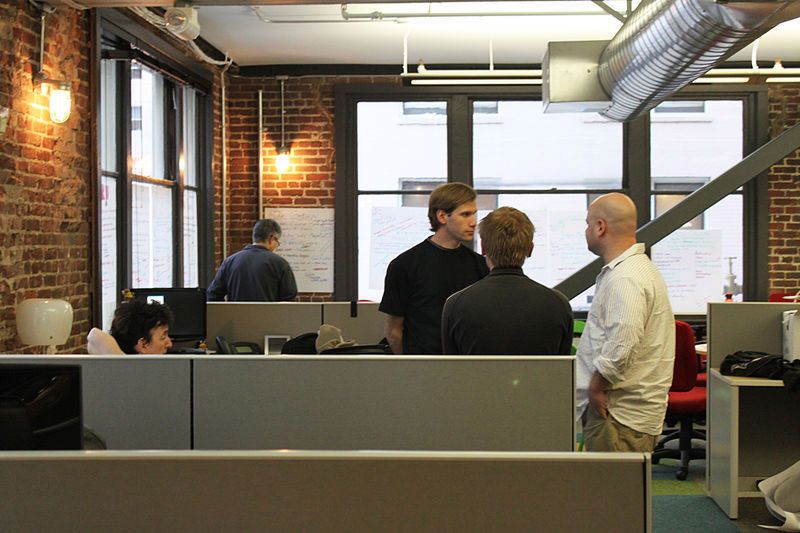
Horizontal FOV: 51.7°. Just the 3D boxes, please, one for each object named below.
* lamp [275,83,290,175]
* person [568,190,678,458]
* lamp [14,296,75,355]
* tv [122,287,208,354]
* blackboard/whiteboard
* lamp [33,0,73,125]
[{"bbox_3d":[-1.208,-1.474,8.648,0.143,0.976,0.084,1,1,-4],"label":"lamp"},{"bbox_3d":[1.193,0.303,4.364,0.495,1.142,0.316,2,1,17],"label":"person"},{"bbox_3d":[-2.258,0.386,5.276,0.321,0.365,0.309,2,-1,-8],"label":"lamp"},{"bbox_3d":[-1.534,0.347,5.723,0.628,0.628,0.469,0,7,-7],"label":"tv"},{"bbox_3d":[-0.946,-0.161,8.113,0.936,1.189,0.044,0,1,3],"label":"blackboard/whiteboard"},{"bbox_3d":[-2.331,-1.377,5.648,0.163,0.777,0.366,2,1,10],"label":"lamp"}]
